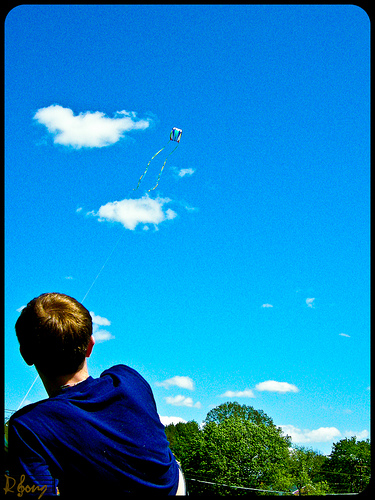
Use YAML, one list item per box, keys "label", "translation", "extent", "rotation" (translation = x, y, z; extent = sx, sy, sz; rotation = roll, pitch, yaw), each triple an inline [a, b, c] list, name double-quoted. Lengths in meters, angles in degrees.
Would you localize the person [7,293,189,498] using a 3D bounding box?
- label: "person"
  translation: [-0.380, 0.630, 2.667]
  extent: [0.770, 0.856, 0.421]
  rotation: [7, -19, -15]
